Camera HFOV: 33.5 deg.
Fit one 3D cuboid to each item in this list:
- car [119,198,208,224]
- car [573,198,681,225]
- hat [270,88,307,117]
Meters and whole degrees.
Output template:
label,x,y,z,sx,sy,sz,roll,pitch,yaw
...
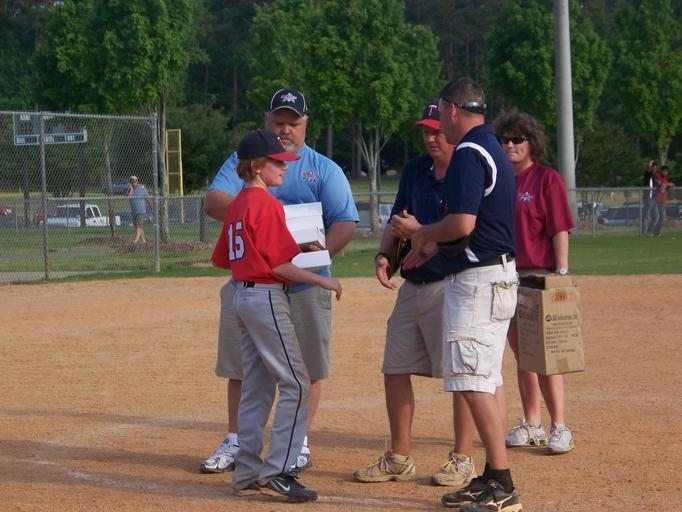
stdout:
label,x,y,z,sx,sy,sz,roll,pitch,yaw
car,-4.550,-1.305,32.381,1.749,0.612,2.338,0,-5,-10
car,8.409,-1.167,32.109,3.627,0.952,0.960,0,15,4
hat,-0.703,-2.086,15.372,0.496,0.392,0.371,-4,5,-35
